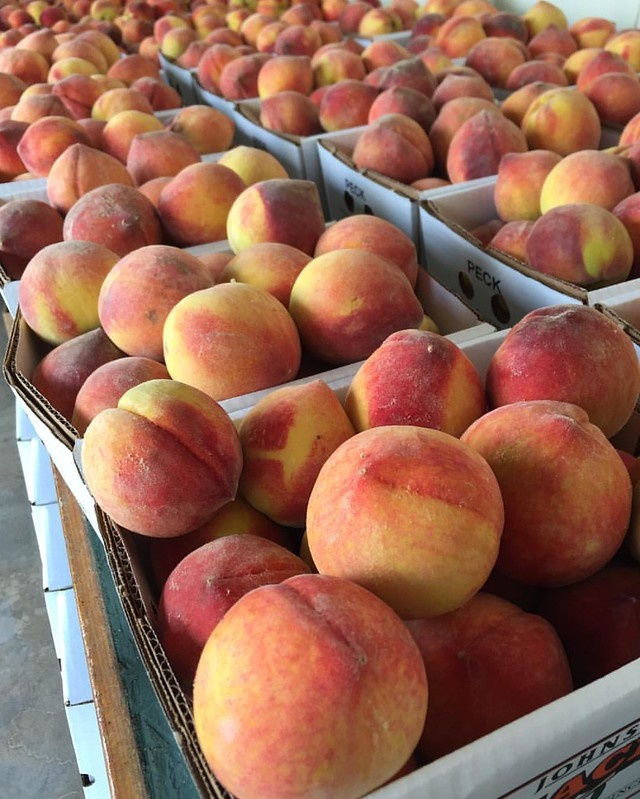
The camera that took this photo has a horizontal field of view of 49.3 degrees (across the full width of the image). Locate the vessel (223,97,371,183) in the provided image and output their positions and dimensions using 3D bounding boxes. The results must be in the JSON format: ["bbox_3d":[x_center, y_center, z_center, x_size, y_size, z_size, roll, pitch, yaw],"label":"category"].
[{"bbox_3d":[-0.056,-0.611,1.709,0.300,0.126,0.279,-35,51,-11],"label":"vessel"}]

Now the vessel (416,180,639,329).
[{"bbox_3d":[0.295,-0.195,1.125,0.306,0.100,0.278,-31,54,6],"label":"vessel"}]

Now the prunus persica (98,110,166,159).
[{"bbox_3d":[-0.422,-0.590,1.547,0.126,0.126,0.108,9,34,-11],"label":"prunus persica"}]

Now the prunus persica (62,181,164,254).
[{"bbox_3d":[-0.351,-0.297,1.148,0.149,0.141,0.187,-10,20,-33],"label":"prunus persica"}]

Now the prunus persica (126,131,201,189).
[{"bbox_3d":[-0.314,-0.467,1.424,0.149,0.126,0.113,-3,81,0],"label":"prunus persica"}]
